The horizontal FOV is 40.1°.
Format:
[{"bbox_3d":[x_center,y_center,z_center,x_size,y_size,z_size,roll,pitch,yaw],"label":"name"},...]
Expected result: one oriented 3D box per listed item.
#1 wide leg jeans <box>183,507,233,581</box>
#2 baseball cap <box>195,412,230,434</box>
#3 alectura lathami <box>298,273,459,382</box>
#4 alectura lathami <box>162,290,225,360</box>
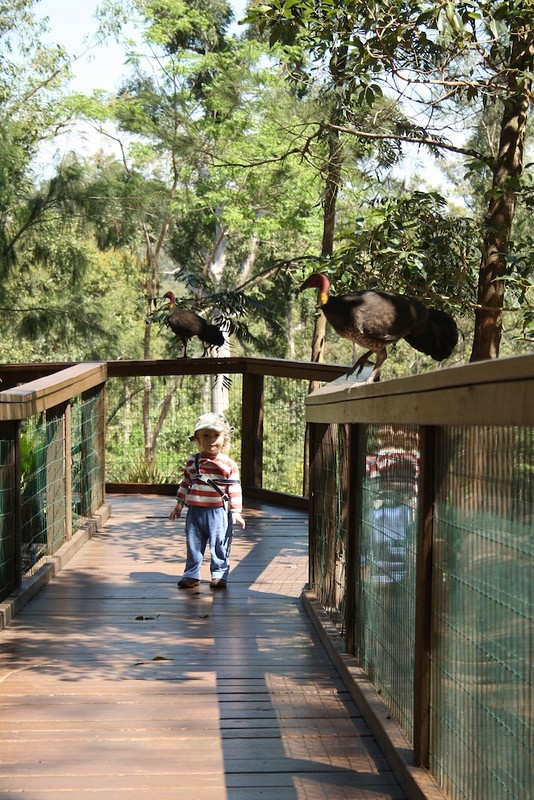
[{"bbox_3d":[-0.321,0.779,3.956,0.254,0.411,0.179,1,-1,-4],"label":"wide leg jeans"},{"bbox_3d":[-0.298,0.128,4.002,0.160,0.108,0.267,0,-2,9],"label":"baseball cap"},{"bbox_3d":[0.563,-0.374,3.512,0.769,0.554,0.377,-6,15,-12],"label":"alectura lathami"},{"bbox_3d":[-0.967,-0.992,9.451,0.858,0.939,0.453,-5,1,28],"label":"alectura lathami"}]
